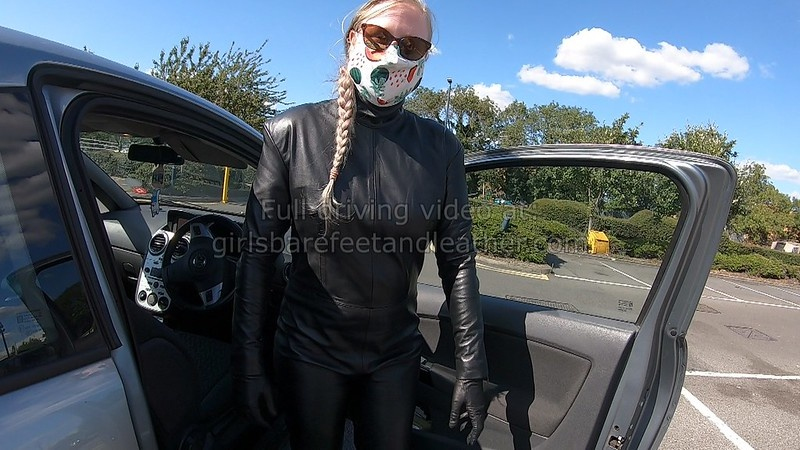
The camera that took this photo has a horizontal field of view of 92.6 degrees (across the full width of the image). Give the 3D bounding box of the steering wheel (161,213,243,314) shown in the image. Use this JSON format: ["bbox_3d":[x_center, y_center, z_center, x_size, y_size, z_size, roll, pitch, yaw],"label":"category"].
[{"bbox_3d":[-1.415,0.301,2.864,0.648,0.731,0.193,6,-1,1],"label":"steering wheel"}]

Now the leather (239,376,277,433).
[{"bbox_3d":[-0.691,0.846,1.890,0.142,0.268,0.183,-11,-2,22],"label":"leather"}]

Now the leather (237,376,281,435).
[{"bbox_3d":[-0.657,0.845,1.875,0.179,0.256,0.091,-10,2,19],"label":"leather"}]

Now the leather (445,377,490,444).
[{"bbox_3d":[0.357,0.931,1.963,0.192,0.346,0.089,3,11,8],"label":"leather"}]

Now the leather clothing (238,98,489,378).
[{"bbox_3d":[-0.170,0.090,2.066,1.259,1.494,0.761,1,3,-10],"label":"leather clothing"}]
